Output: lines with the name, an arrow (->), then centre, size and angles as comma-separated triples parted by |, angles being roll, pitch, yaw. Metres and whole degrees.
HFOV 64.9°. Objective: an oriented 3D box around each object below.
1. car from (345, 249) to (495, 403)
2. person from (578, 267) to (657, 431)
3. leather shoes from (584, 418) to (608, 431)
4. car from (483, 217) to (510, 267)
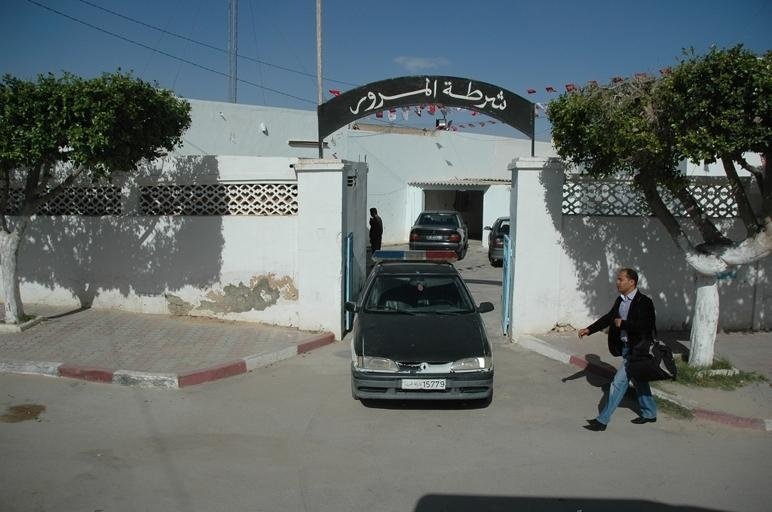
car -> 0.593, 1.195, 9.724 | 2.130, 1.944, 1.718 | 1, -3, 5
person -> 3.425, 1.344, 8.755 | 0.870, 2.308, 0.967 | -1, -4, 38
leather shoes -> 2.996, 2.384, 8.610 | 0.274, 0.126, 0.161 | 11, 19, 36
car -> 3.988, -0.517, 21.610 | 1.069, 0.930, 2.439 | 0, 17, 4
